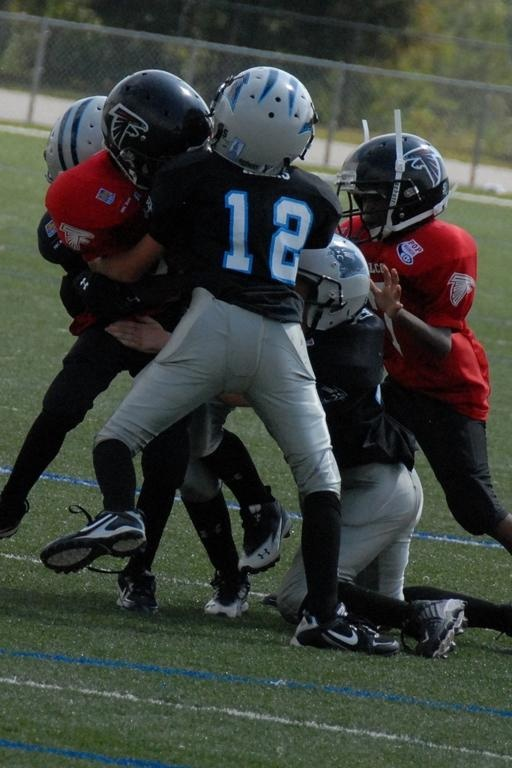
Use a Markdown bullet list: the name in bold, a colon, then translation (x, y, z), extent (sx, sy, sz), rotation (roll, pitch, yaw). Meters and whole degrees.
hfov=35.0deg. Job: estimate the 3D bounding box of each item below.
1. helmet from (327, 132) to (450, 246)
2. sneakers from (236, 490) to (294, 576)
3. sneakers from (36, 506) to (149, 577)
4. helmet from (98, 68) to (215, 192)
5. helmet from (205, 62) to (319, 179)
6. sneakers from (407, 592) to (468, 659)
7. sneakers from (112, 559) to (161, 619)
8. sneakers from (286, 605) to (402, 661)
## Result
- **helmet**: translation (0.495, -0.714, 2.917), extent (0.471, 0.308, 0.351), rotation (-12, 23, -25)
- **sneakers**: translation (0.014, 0.465, 2.555), extent (0.123, 0.152, 0.344), rotation (-21, 10, 23)
- **sneakers**: translation (-0.394, 0.382, 1.966), extent (0.238, 0.138, 0.100), rotation (-21, 27, -3)
- **helmet**: translation (-0.285, -0.716, 2.236), extent (0.317, 0.300, 0.300), rotation (10, 3, -4)
- **helmet**: translation (0.040, -0.726, 2.255), extent (0.318, 0.258, 0.357), rotation (13, 19, -14)
- **sneakers**: translation (0.497, 0.660, 2.256), extent (0.138, 0.159, 0.182), rotation (11, 3, 22)
- **sneakers**: translation (-0.332, 0.589, 2.293), extent (0.072, 0.073, 0.178), rotation (9, 11, -15)
- **sneakers**: translation (0.221, 0.638, 2.109), extent (0.346, 0.122, 0.112), rotation (6, -4, -10)
